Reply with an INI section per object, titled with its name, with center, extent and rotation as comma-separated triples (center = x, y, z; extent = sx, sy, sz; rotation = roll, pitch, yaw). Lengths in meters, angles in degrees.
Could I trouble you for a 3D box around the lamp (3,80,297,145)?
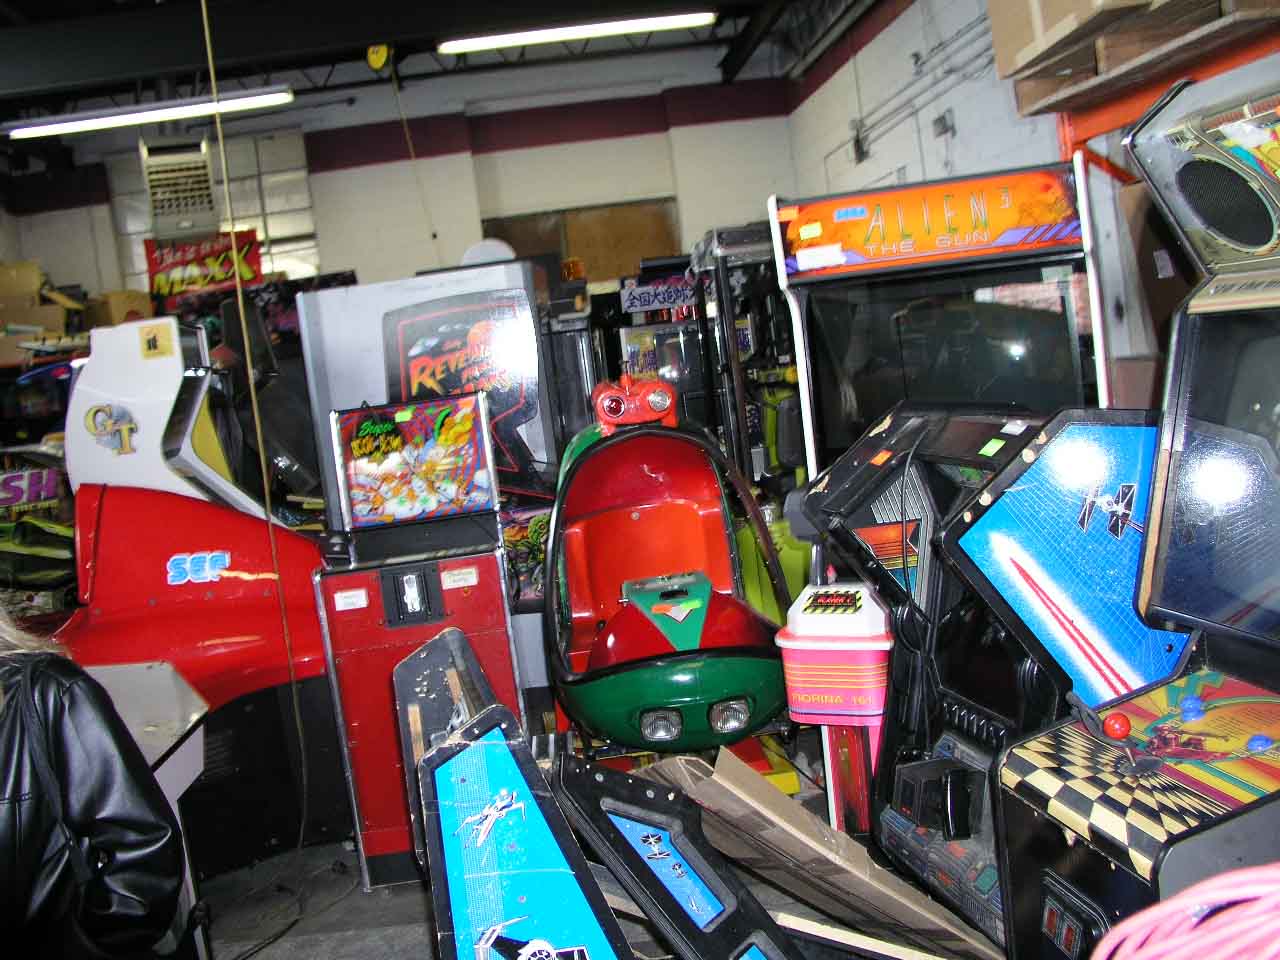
[lamp]
center = -5.067, -3.790, 9.916
extent = 3.612, 0.181, 0.595
rotation = -7, 14, 19
